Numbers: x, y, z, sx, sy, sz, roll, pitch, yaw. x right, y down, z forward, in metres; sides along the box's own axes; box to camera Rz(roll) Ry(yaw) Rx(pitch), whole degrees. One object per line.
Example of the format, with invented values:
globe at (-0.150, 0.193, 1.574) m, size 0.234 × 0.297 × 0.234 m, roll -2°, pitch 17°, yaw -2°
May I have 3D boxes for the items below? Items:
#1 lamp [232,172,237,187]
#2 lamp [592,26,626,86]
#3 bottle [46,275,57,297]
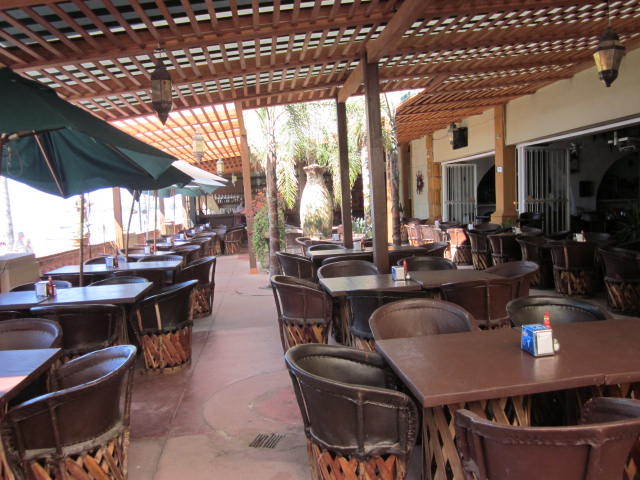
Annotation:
lamp at (-3.835, -2.785, 20.746) m, size 0.279 × 0.522 × 0.706 m, roll -4°, pitch 3°, yaw -9°
lamp at (2.879, -1.870, 4.559) m, size 0.247 × 0.567 × 0.317 m, roll -1°, pitch 4°, yaw 32°
bottle at (-2.542, 0.442, 4.358) m, size 0.148 × 0.211 × 0.123 m, roll -2°, pitch -2°, yaw -27°
